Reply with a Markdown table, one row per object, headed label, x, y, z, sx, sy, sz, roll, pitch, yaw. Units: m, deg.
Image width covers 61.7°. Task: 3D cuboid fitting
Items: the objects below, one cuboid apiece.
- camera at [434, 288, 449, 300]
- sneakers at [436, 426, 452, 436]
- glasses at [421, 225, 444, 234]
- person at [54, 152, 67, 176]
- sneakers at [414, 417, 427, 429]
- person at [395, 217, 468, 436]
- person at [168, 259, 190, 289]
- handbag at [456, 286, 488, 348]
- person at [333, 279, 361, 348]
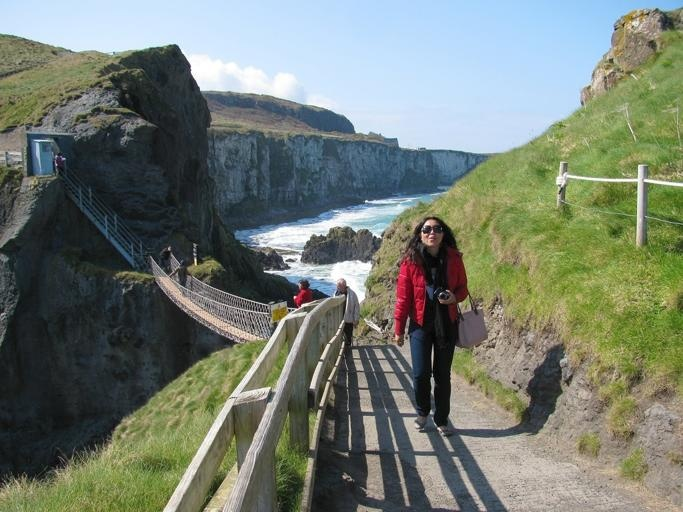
| label | x | y | z | sx | sy | sz | roll | pitch | yaw |
| --- | --- | --- | --- | --- | --- | --- | --- | --- | --- |
| camera | 1.211 | 0.469 | 6.924 | 0.136 | 0.097 | 0.104 | 1 | -2 | 33 |
| sneakers | 1.318 | 2.224 | 7.251 | 0.094 | 0.091 | 0.191 | -1 | -27 | 4 |
| glasses | 1.137 | -0.329 | 7.112 | 0.278 | 0.102 | 0.162 | 1 | 4 | 5 |
| person | -12.976 | -4.254 | 26.330 | 0.307 | 1.094 | 0.765 | 1 | 4 | 6 |
| sneakers | 1.006 | 2.132 | 7.294 | 0.162 | 0.196 | 0.113 | -6 | -7 | 37 |
| person | 1.127 | 0.881 | 7.210 | 0.881 | 2.742 | 0.524 | 1 | 4 | 10 |
| person | -7.034 | 0.830 | 25.235 | 0.847 | 1.315 | 1.149 | 0 | -8 | -25 |
| handbag | 1.619 | 0.773 | 7.224 | 0.384 | 0.711 | 0.220 | -17 | 20 | 6 |
| person | 0.057 | 1.362 | 12.595 | 0.628 | 1.817 | 0.516 | 6 | 20 | 17 |
